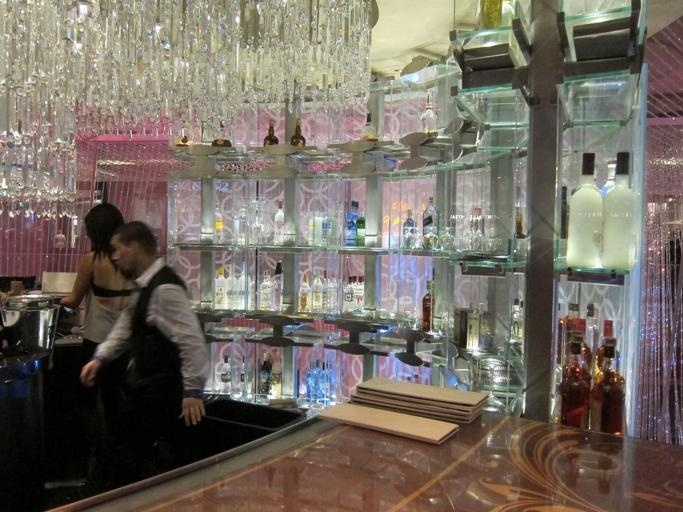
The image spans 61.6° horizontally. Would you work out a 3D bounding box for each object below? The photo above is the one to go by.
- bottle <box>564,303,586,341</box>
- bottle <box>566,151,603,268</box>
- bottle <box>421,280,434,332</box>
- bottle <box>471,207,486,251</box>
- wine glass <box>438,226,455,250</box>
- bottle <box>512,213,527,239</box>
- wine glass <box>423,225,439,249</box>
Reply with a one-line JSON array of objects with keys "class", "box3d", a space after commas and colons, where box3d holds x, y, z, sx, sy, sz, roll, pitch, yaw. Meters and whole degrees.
[{"class": "bottle", "box3d": [1.123, 0.322, 2.760, 0.092, 0.181, 0.344, 0, -1, 22]}, {"class": "bottle", "box3d": [1.130, -0.210, 2.674, 0.144, 0.530, 0.114, 0, -1, 9]}, {"class": "bottle", "box3d": [0.600, 0.349, 4.076, 0.061, 0.356, 0.208, 1, -1, -8]}, {"class": "bottle", "box3d": [0.736, -0.153, 3.140, 0.028, 0.226, 0.115, 1, -1, -15]}, {"class": "wine glass", "box3d": [0.660, -0.110, 3.594, 0.110, 0.184, 0.126, 0, 1, -14]}, {"class": "bottle", "box3d": [0.896, -0.156, 2.890, 0.031, 0.139, 0.117, 0, -1, 38]}, {"class": "wine glass", "box3d": [0.616, -0.133, 4.003, 0.133, 0.228, 0.135, 1, 3, 15]}]
